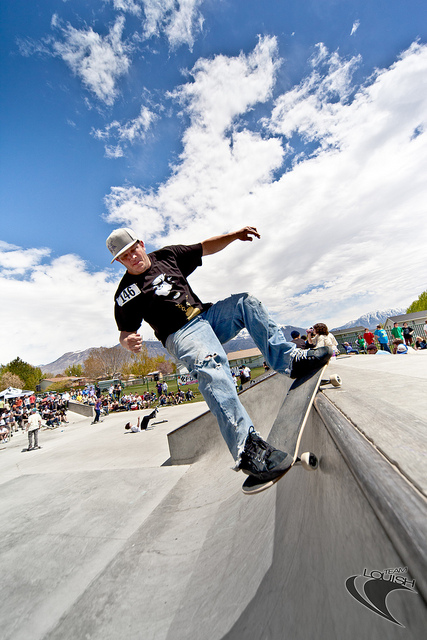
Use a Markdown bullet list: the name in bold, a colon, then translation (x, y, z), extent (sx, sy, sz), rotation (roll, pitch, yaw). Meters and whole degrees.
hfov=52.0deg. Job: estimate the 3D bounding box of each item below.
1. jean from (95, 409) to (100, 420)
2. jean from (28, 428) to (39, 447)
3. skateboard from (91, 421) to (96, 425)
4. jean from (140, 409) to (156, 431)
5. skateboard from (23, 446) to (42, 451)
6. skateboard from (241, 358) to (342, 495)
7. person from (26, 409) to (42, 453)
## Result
- **jean**: translation (-5.023, 4.016, 18.911), extent (0.161, 0.449, 0.246), rotation (-5, -12, -13)
- **jean**: translation (-4.894, 3.212, 11.922), extent (0.213, 0.451, 0.497), rotation (-2, -20, -27)
- **skateboard**: translation (-5.059, 4.306, 18.429), extent (0.269, 0.085, 0.314), rotation (18, -27, -23)
- **jean**: translation (-1.661, 2.534, 11.287), extent (0.327, 0.224, 0.507), rotation (-33, 6, 31)
- **skateboard**: translation (-4.873, 3.381, 11.672), extent (0.649, 0.046, 0.150), rotation (1, -36, 5)
- **skateboard**: translation (0.451, 0.554, 2.189), extent (0.358, 0.184, 1.107), rotation (-50, -1, 37)
- **person**: translation (-4.925, 3.013, 12.070), extent (0.281, 1.123, 0.347), rotation (1, -23, -18)
